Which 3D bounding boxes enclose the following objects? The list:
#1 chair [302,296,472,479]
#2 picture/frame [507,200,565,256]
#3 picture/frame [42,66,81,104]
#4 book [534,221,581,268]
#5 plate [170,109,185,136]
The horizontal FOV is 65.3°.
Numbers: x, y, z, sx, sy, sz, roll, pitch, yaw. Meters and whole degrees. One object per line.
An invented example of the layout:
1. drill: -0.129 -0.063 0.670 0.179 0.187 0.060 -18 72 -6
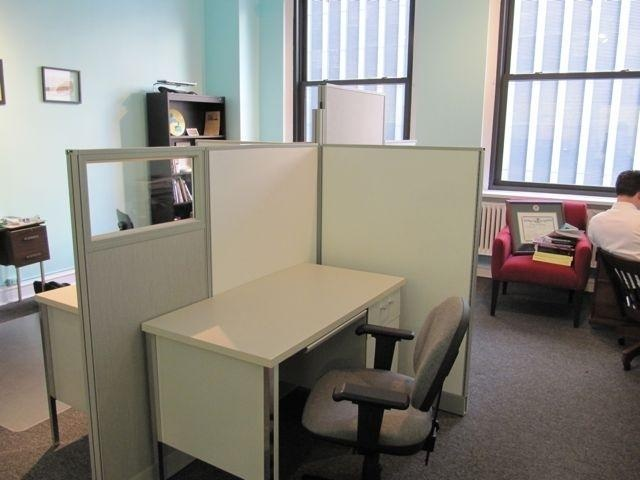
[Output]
1. chair: 0.292 0.798 2.427 0.759 1.029 0.637 5 16 24
2. picture/frame: 2.087 -0.096 4.831 0.494 0.527 0.039 -2 -20 -2
3. picture/frame: -2.650 -1.591 5.104 0.015 0.342 0.414 8 9 26
4. book: 2.194 0.060 4.614 0.367 0.266 0.449 7 17 29
5. plate: -1.738 -1.427 6.084 0.064 0.266 0.257 4 3 22
